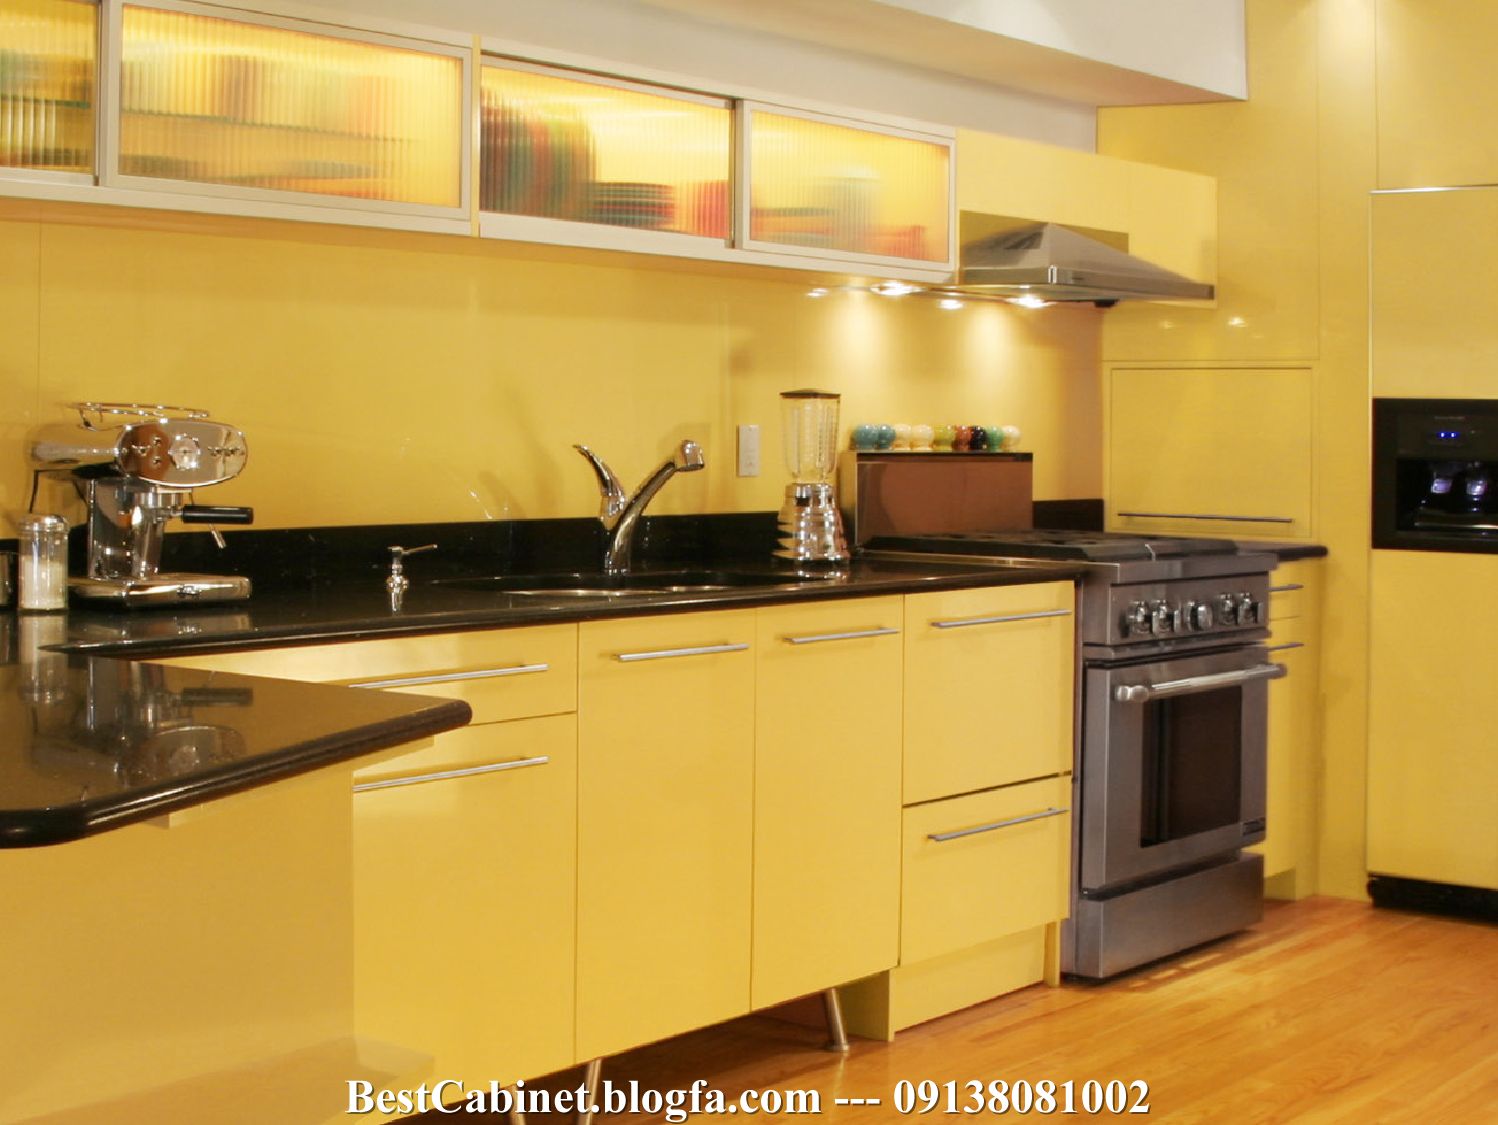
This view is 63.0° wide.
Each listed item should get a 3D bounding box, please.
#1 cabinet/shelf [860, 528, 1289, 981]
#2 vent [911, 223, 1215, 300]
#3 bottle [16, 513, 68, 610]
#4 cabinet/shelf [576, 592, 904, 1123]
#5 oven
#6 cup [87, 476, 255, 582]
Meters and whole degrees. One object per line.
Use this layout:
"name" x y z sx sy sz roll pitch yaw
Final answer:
"cabinet/shelf" 0.969 0.496 4.057 1.297 1.706 1.259 -2 -1 -45
"vent" 0.986 -0.961 3.934 0.911 0.241 0.461 -2 3 -34
"bottle" -1.300 0.000 2.251 0.079 0.175 0.093 -2 3 -30
"cabinet/shelf" 0.010 0.475 2.861 0.803 0.667 0.478 -1 6 -8
"oven" 1.075 0.551 3.834 0.925 1.131 0.951 2 2 45
"cup" -1.191 -0.068 2.355 0.192 0.194 0.133 -1 3 -14
